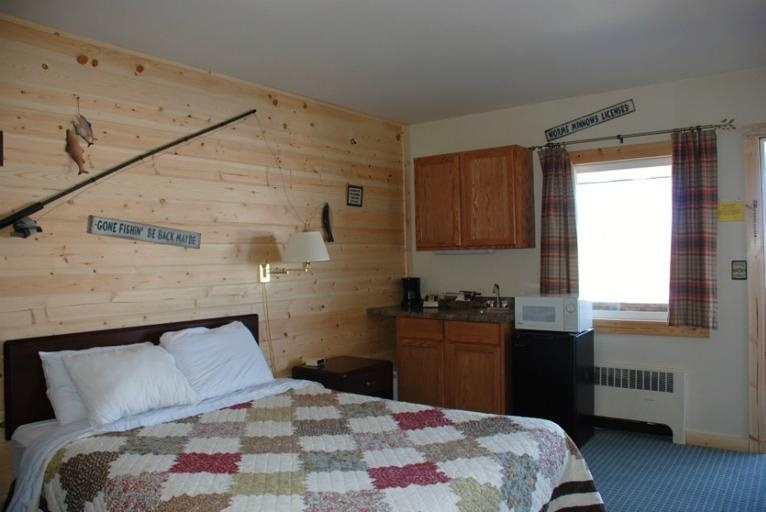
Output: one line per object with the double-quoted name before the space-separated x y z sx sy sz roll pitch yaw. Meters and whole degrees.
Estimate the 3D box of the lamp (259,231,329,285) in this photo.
"lamp" -0.927 0.018 4.839 0.692 0.411 0.434 -8 -9 40

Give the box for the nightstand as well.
"nightstand" -0.391 1.363 5.058 0.690 0.590 0.681 0 2 41

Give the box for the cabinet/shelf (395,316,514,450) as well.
"cabinet/shelf" 0.747 1.118 5.262 1.089 0.905 0.376 1 1 28

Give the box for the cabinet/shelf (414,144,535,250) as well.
"cabinet/shelf" 0.999 -0.600 5.320 1.285 0.937 0.479 -2 -4 31
